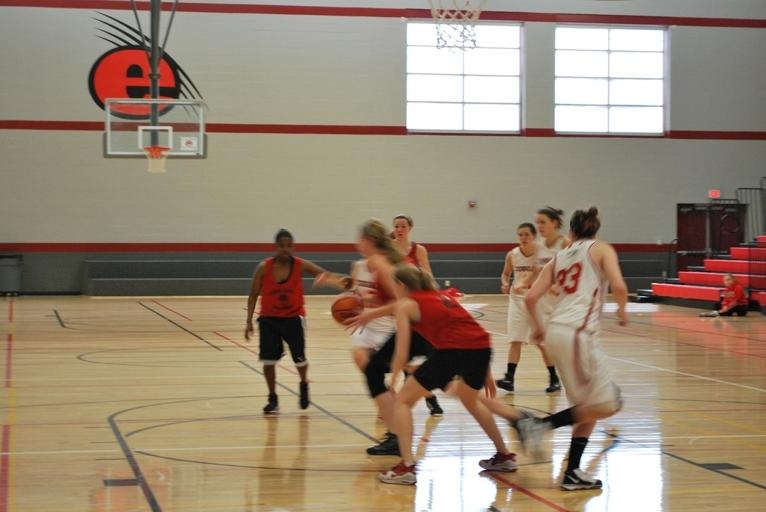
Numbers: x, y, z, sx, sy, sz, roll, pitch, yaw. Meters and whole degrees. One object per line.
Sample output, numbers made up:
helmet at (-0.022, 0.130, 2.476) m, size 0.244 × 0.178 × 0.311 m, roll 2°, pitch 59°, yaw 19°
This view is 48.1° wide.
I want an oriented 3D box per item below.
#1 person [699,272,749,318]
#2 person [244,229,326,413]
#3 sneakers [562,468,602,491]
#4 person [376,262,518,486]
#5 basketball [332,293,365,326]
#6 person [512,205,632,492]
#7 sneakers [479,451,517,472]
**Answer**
person at (6.528, 0.732, 16.374) m, size 1.035 × 0.763 × 0.641 m, roll -5°, pitch 1°, yaw -10°
person at (-1.056, 0.672, 9.131) m, size 0.788 × 1.912 × 0.720 m, roll 0°, pitch 12°, yaw -5°
sneakers at (1.702, 1.935, 7.486) m, size 0.405 × 0.151 × 0.150 m, roll 0°, pitch 1°, yaw -3°
person at (0.552, 1.026, 7.548) m, size 1.118 × 1.859 × 0.585 m, roll 1°, pitch 12°, yaw -1°
basketball at (-0.384, 0.519, 8.501) m, size 0.334 × 0.265 × 0.324 m, roll -1°, pitch 7°, yaw 29°
person at (1.651, 0.928, 7.481) m, size 0.863 × 2.122 × 0.611 m, roll 4°, pitch 12°, yaw 13°
sneakers at (1.058, 1.849, 7.783) m, size 0.404 × 0.151 × 0.135 m, roll 2°, pitch 2°, yaw 7°
